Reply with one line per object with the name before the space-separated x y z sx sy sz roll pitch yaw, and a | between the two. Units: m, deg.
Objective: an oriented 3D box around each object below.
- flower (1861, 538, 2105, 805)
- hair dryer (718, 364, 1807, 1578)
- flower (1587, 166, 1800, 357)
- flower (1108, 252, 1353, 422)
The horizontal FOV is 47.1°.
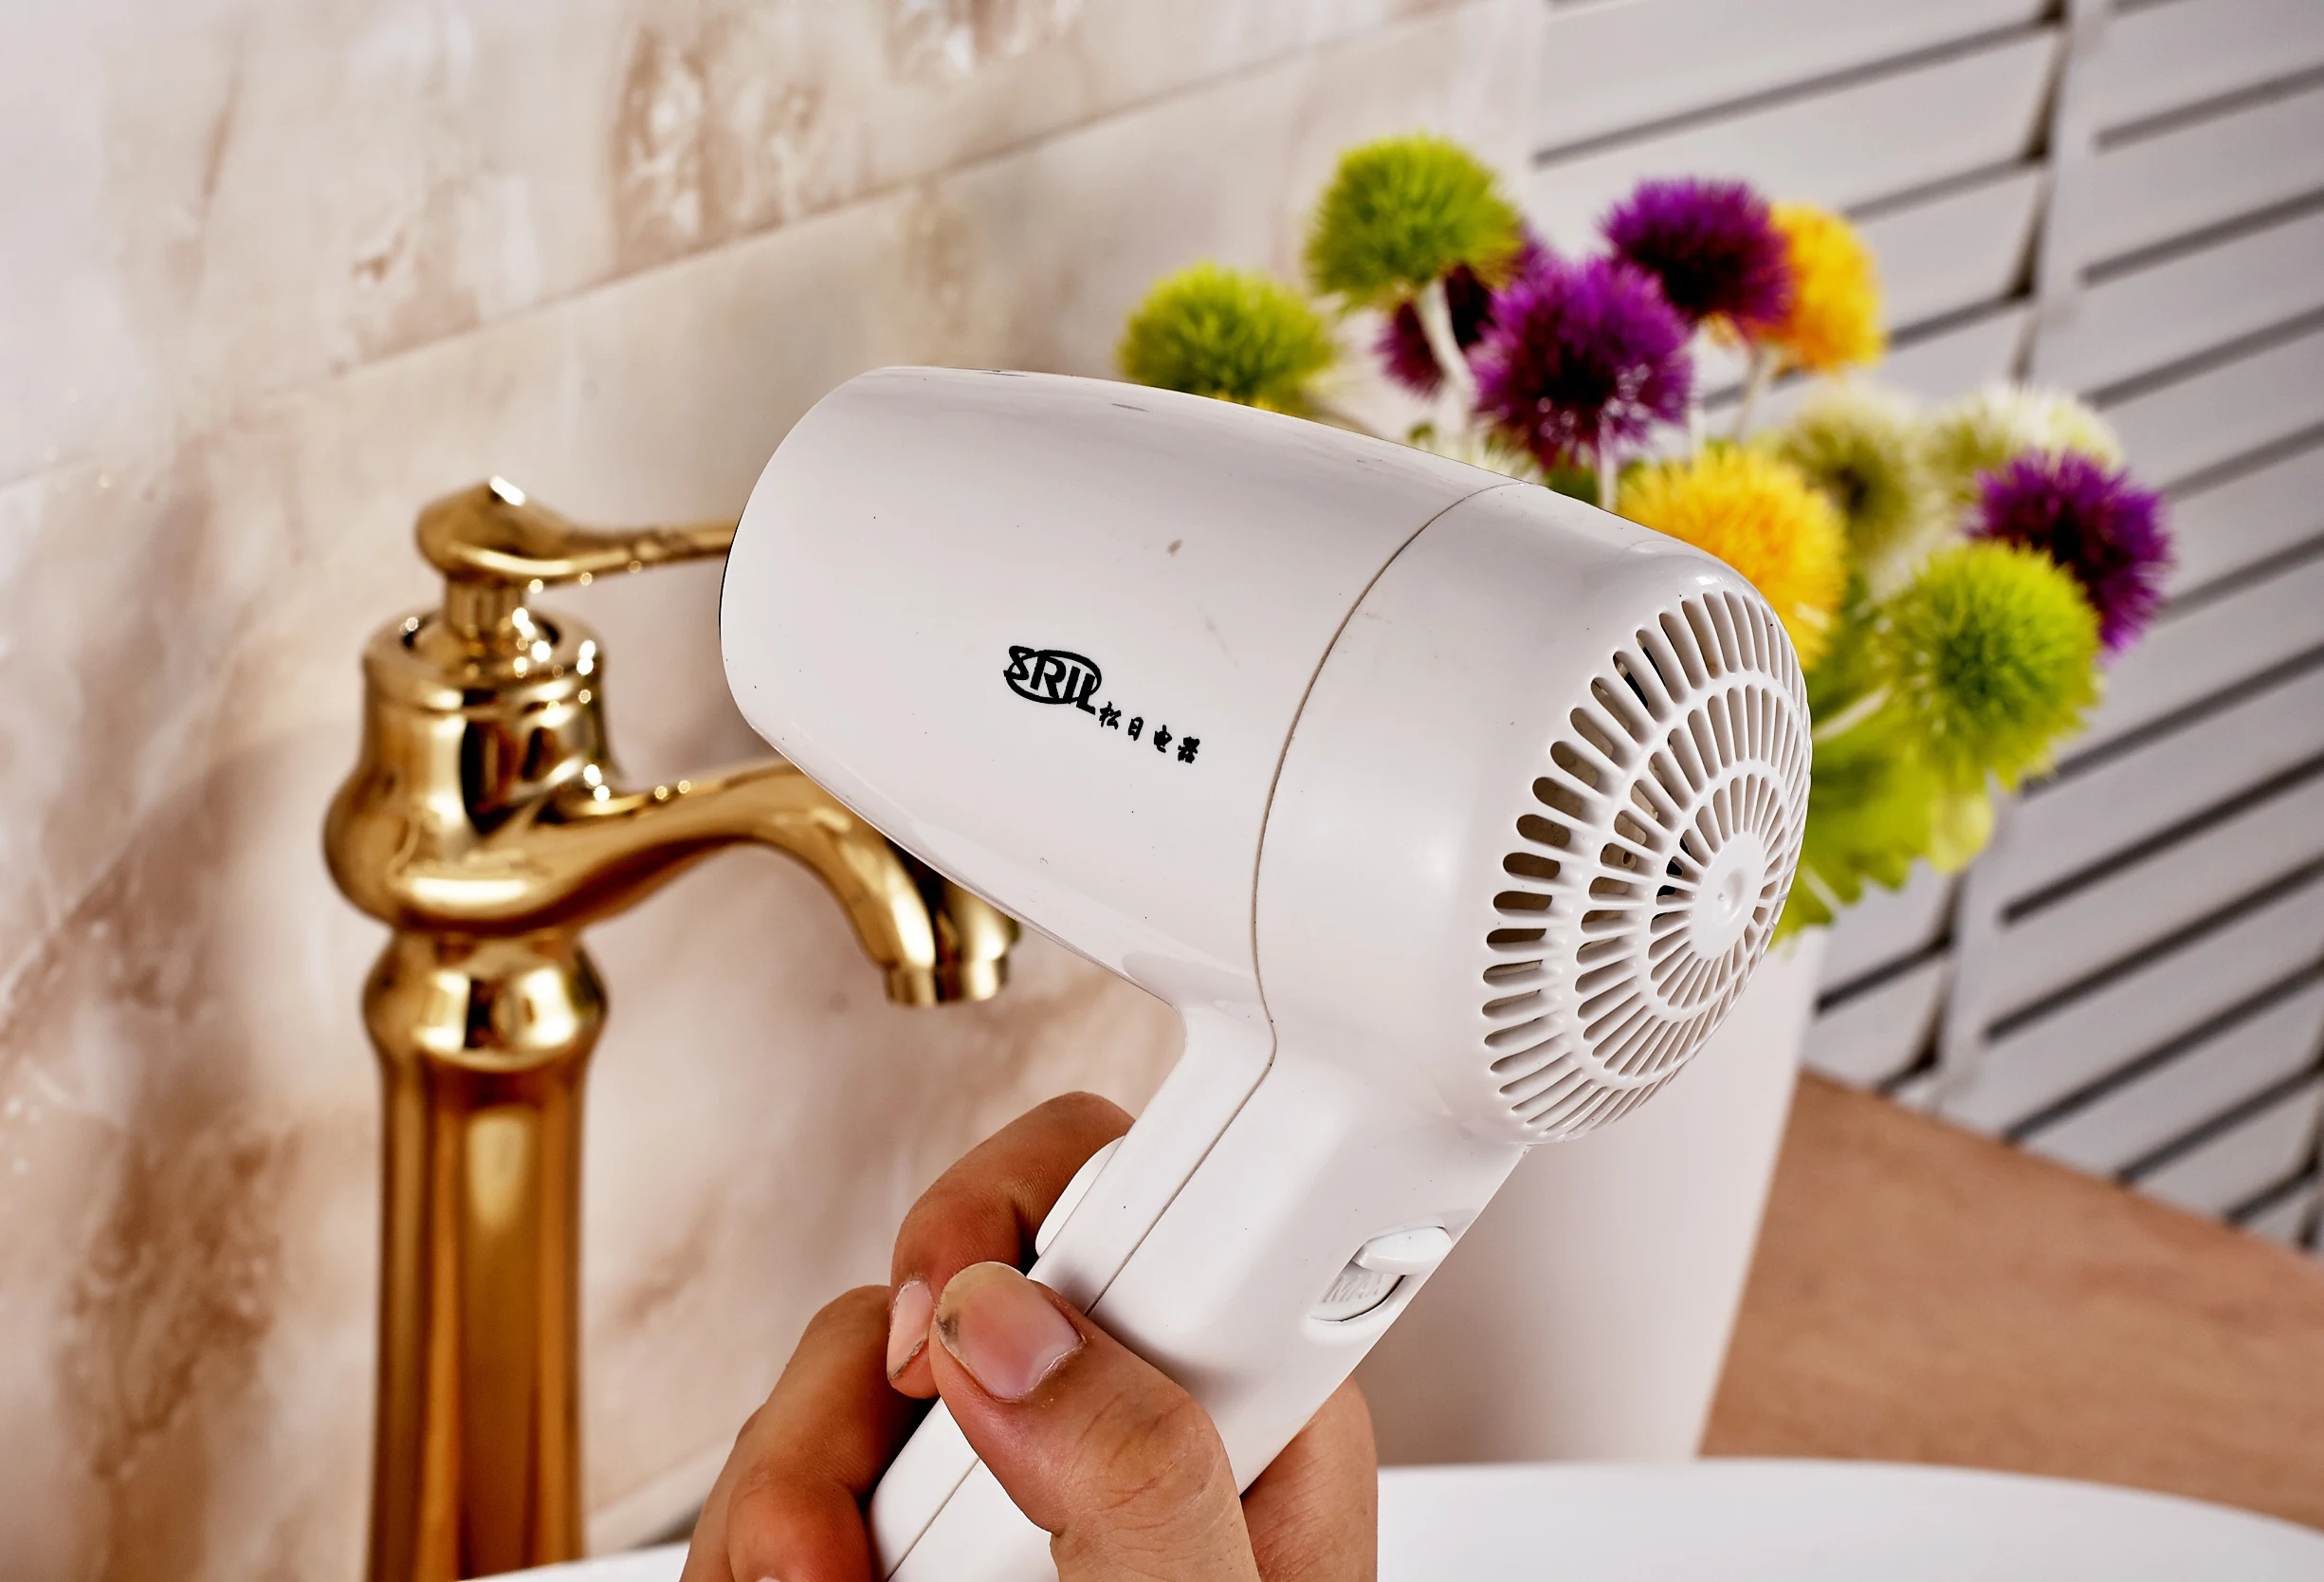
flower | 0.293 -0.047 0.933 0.068 0.088 0.046 -38 55 -25
hair dryer | 0.023 0.039 0.791 0.300 0.297 0.153 14 34 30
flower | 0.207 -0.201 0.998 0.079 0.095 0.036 -7 70 3
flower | 0.031 -0.162 0.986 0.082 0.068 0.054 11 76 7
